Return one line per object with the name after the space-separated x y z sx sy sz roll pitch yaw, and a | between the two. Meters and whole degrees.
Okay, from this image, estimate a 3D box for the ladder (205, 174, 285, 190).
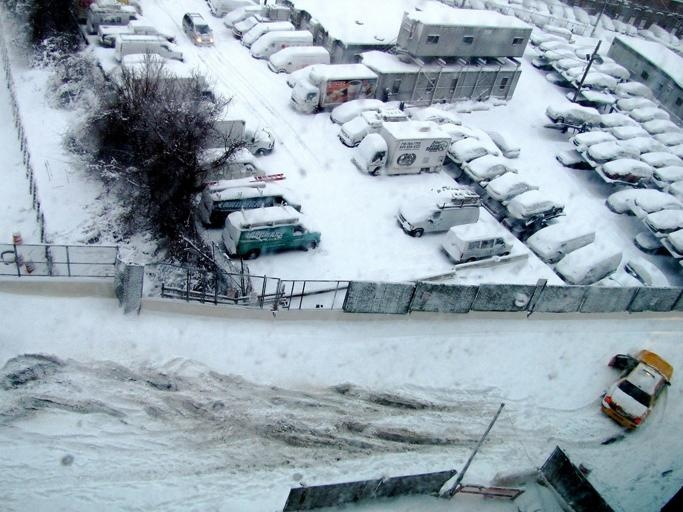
-4.533 -3.577 26.183 3.848 0.344 1.293 -11 28 -36 | ladder

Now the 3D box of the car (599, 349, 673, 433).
11.527 5.259 21.691 2.088 1.072 3.618 42 66 18 | car
